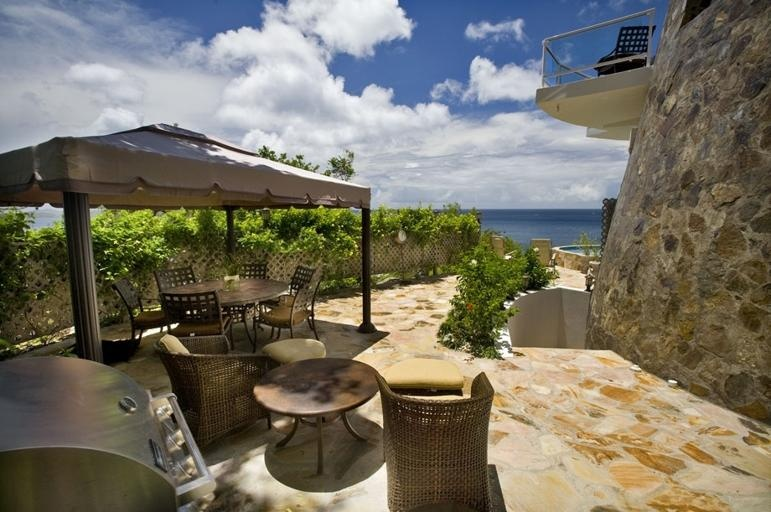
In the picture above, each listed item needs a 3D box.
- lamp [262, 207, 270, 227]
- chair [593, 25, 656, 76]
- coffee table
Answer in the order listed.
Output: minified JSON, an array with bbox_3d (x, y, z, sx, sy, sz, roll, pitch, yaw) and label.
[{"bbox_3d":[-3.149,-0.996,12.001,0.235,0.431,0.667,-1,10,-15],"label":"lamp"},{"bbox_3d":[5.243,-4.561,10.194,0.778,0.829,1.129,-2,14,-6],"label":"chair"},{"bbox_3d":[-0.898,1.768,5.851,1.409,0.752,1.332,-3,11,-7],"label":"coffee table"}]
